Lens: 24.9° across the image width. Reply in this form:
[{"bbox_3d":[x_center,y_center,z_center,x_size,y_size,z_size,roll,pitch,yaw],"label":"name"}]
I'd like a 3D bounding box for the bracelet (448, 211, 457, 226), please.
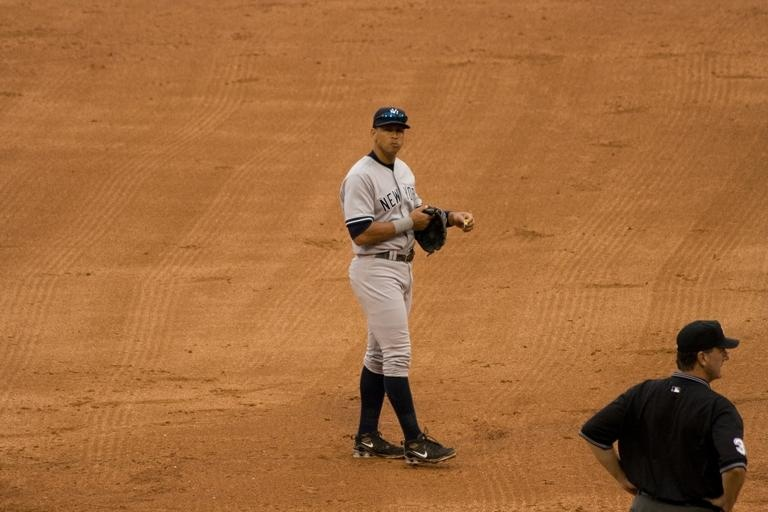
[{"bbox_3d":[1.090,-0.572,26.992,0.187,0.170,0.188,-1,0,5],"label":"bracelet"}]

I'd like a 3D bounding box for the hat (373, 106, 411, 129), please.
[{"bbox_3d":[0.093,-2.105,26.835,0.496,0.313,0.314,1,5,10],"label":"hat"}]

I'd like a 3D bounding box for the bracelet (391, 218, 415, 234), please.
[{"bbox_3d":[0.291,-0.467,26.722,0.243,0.203,0.283,-16,0,-7],"label":"bracelet"}]
